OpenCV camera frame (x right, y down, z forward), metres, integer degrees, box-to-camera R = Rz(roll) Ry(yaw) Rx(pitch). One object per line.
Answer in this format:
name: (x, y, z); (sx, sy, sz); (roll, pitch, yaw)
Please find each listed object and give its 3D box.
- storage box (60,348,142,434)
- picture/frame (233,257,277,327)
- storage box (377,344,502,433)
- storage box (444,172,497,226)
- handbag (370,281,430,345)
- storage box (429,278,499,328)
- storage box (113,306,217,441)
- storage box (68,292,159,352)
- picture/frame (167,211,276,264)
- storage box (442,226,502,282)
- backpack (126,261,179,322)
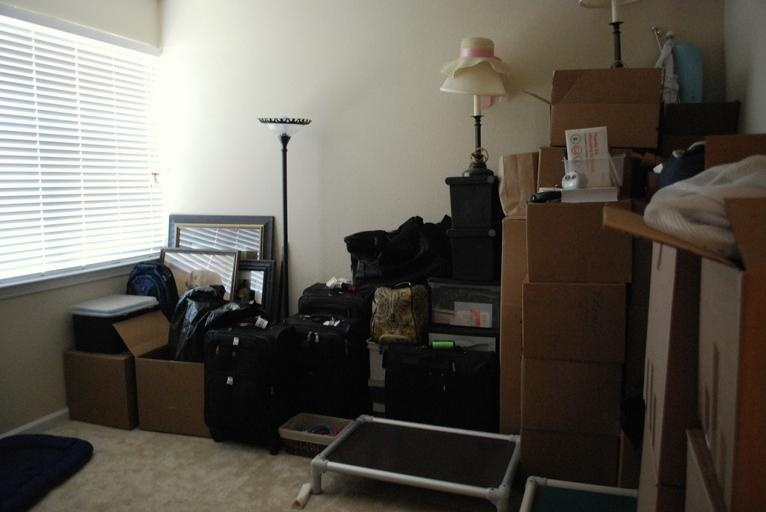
storage box: (-2.017, 0.983, 4.370); (0.515, 0.471, 0.279); (3, 8, 20)
picture/frame: (-1.008, 0.290, 4.719); (0.485, 0.608, 0.057); (1, 4, 22)
storage box: (0.408, 0.876, 3.930); (0.539, 0.446, 0.186); (2, 7, 17)
storage box: (0.625, -0.392, 4.194); (0.310, 0.402, 0.410); (0, 21, 13)
handbag: (0.130, 0.394, 4.323); (0.392, 0.405, 0.406); (-3, 0, 2)
storage box: (0.574, 0.274, 4.101); (0.346, 0.227, 0.352); (2, 2, 25)
storage box: (-1.446, 0.848, 4.495); (0.832, 0.778, 0.626); (1, 7, 16)
storage box: (-1.989, 0.561, 4.597); (0.390, 0.289, 0.479); (-19, 0, 24)
picture/frame: (-1.390, -0.035, 5.104); (0.887, 0.593, 0.063); (4, 2, 10)
storage box: (0.583, 0.038, 4.183); (0.370, 0.379, 0.293); (-20, -1, 8)
backpack: (-1.823, 0.296, 4.745); (0.369, 0.533, 0.273); (-5, -4, -7)
